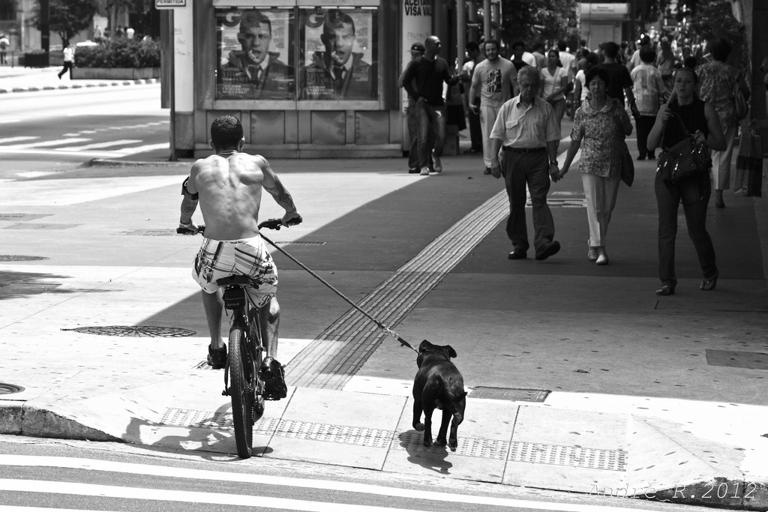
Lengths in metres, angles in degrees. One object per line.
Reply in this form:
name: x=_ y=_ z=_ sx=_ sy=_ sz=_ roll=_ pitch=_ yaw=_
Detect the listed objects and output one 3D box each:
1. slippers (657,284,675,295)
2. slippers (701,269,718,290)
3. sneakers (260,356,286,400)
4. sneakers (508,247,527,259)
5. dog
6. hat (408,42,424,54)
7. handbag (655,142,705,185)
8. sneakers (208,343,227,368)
slippers: x=3.049 y=0.366 z=10.251 sx=0.088 sy=0.107 sz=0.262 roll=-1 pitch=-2 yaw=44
slippers: x=3.572 y=0.280 z=10.426 sx=0.113 sy=0.130 sz=0.312 roll=4 pitch=47 yaw=41
sneakers: x=-0.718 y=0.785 z=6.126 sx=0.135 sy=0.274 sz=0.126 roll=-8 pitch=-8 yaw=-4
sneakers: x=1.741 y=-0.032 z=12.408 sx=0.220 sy=0.137 sz=0.129 roll=6 pitch=9 yaw=31
dog: x=0.363 y=0.872 z=6.158 sx=0.264 sy=0.571 sz=1.166 roll=8 pitch=2 yaw=-5
hat: x=0.742 y=-4.482 z=20.494 sx=0.310 sy=0.159 sz=0.411 roll=1 pitch=11 yaw=8
handbag: x=3.155 y=-0.980 z=10.002 sx=0.341 sy=0.322 sz=0.190 roll=-27 pitch=-19 yaw=15
sneakers: x=-1.113 y=0.679 z=6.292 sx=0.081 sy=0.085 sz=0.220 roll=0 pitch=7 yaw=-5
